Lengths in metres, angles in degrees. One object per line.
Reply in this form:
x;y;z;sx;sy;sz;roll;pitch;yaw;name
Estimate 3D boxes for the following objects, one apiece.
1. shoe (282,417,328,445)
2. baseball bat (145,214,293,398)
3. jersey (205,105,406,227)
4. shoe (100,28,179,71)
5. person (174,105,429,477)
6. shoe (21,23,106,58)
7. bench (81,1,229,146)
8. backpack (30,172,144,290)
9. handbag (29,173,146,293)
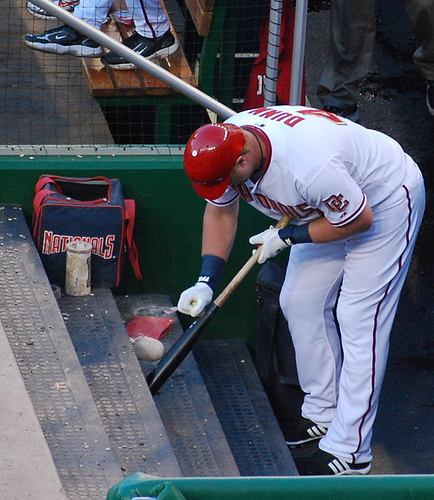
0.435;0.889;5.184;0.281;0.093;0.085;-4;23;0;shoe
0.008;0.273;5.265;0.136;0.141;1.260;44;74;5;baseball bat
0.466;-0.291;4.436;0.750;0.307;0.578;5;10;-45;jersey
-0.381;-1.174;6.235;0.447;0.179;0.153;-15;4;33;shoe
0.416;0.187;4.803;0.876;1.730;0.799;10;34;14;person
-0.892;-1.274;6.302;0.593;0.224;0.193;8;20;18;shoe
-0.341;-1.004;6.022;0.538;0.667;1.060;-1;40;-7;bench
-0.690;-0.081;5.321;0.546;0.435;0.622;0;28;-13;backpack
-0.674;-0.105;5.369;0.645;0.399;0.588;1;30;-11;handbag
